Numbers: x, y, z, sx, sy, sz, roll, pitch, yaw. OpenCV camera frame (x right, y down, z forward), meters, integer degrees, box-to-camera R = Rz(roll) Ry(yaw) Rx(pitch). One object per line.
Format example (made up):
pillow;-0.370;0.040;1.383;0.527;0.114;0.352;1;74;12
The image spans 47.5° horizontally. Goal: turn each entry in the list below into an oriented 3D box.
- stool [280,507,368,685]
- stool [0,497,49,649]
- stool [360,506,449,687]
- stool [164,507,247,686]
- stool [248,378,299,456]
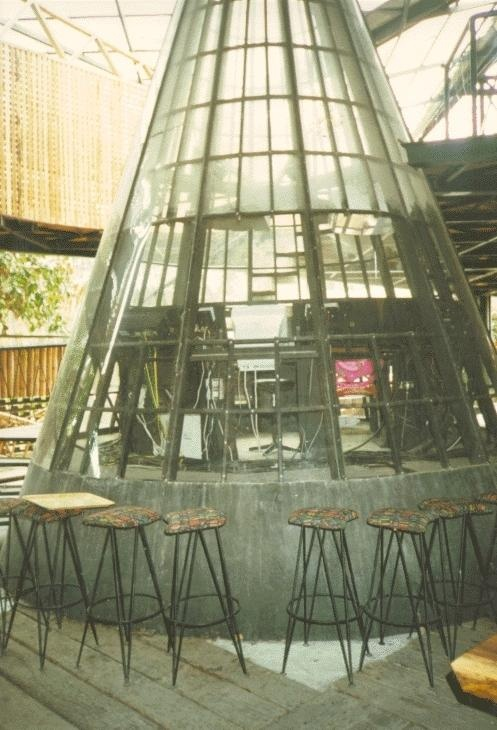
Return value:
stool;0.557;1.650;4.271;0.612;1.193;1.124;-1;-5;8
stool;-1.962;1.714;4.953;0.402;1.194;2.026;1;-5;-20
stool;1.190;1.652;4.382;0.655;1.159;1.459;-2;-5;17
stool;-0.318;1.655;4.296;0.604;1.150;1.159;0;-5;-8
stool;0.231;0.439;5.007;0.508;0.630;0.523;1;-3;7
